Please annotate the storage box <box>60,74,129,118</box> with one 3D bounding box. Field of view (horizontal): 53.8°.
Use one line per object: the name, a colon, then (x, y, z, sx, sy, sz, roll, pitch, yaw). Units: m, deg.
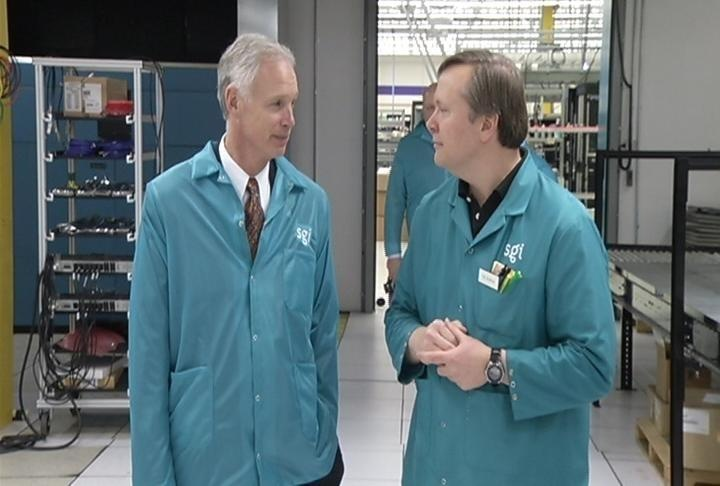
storage box: (-2.007, -1.091, 5.274, 0.349, 0.264, 0.379, 1, 5, -4)
